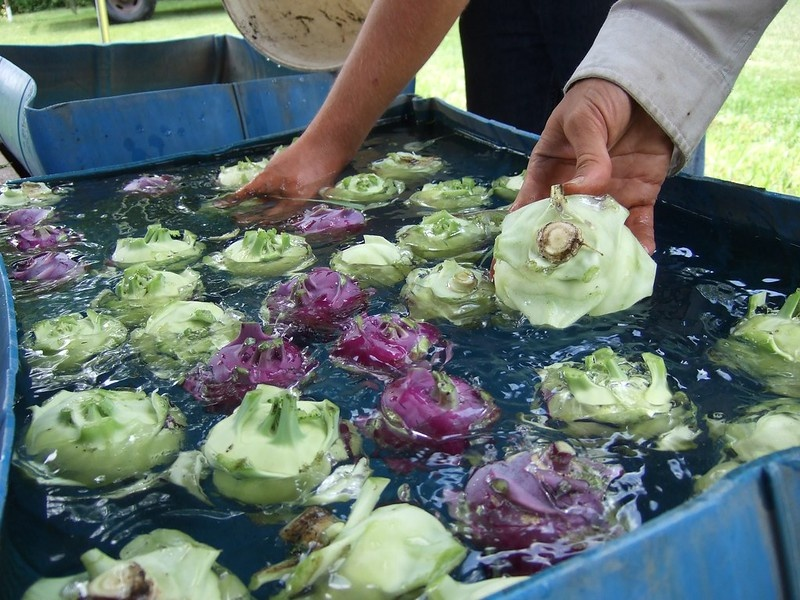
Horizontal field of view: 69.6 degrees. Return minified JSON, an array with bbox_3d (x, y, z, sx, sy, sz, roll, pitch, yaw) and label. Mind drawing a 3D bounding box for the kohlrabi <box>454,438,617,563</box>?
[{"bbox_3d":[0.155,0.228,0.662,0.162,0.077,0.122,-4,25,21],"label":"kohlrabi"}]
